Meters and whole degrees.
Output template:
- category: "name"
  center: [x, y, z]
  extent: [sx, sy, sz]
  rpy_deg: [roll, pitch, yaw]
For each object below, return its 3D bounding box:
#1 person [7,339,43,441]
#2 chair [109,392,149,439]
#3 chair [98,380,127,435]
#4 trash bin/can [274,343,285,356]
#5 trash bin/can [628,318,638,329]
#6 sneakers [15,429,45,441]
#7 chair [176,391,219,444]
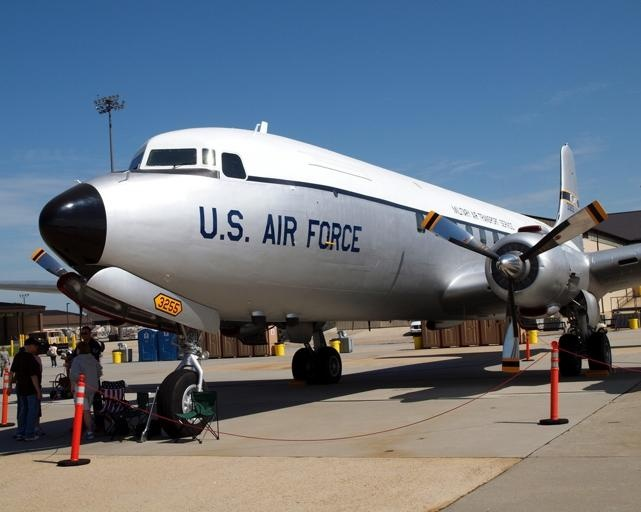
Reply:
- category: "person"
  center: [-4.939, 2.208, 10.554]
  extent: [0.490, 1.686, 0.677]
  rpy_deg: [2, -12, -24]
- category: "chair"
  center: [-3.252, 2.735, 10.657]
  extent: [0.666, 0.744, 0.657]
  rpy_deg: [-12, -30, 26]
- category: "chair"
  center: [-3.564, 2.605, 10.826]
  extent: [0.617, 0.784, 0.640]
  rpy_deg: [-1, 0, -9]
- category: "trash bin/can"
  center: [-1.941, 4.437, 29.710]
  extent: [0.662, 0.641, 0.637]
  rpy_deg: [0, -10, 0]
- category: "trash bin/can"
  center: [19.110, 4.164, 38.443]
  extent: [0.599, 0.398, 0.522]
  rpy_deg: [7, -10, -20]
- category: "sneakers"
  center: [-4.809, 3.016, 10.462]
  extent: [0.548, 0.202, 0.183]
  rpy_deg: [2, -2, -21]
- category: "chair"
  center: [-1.941, 2.489, 9.762]
  extent: [0.664, 0.673, 0.634]
  rpy_deg: [-6, -8, 6]
